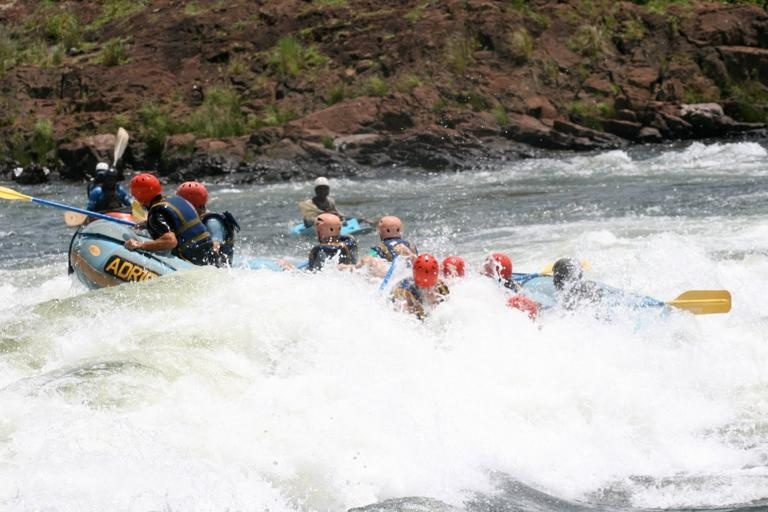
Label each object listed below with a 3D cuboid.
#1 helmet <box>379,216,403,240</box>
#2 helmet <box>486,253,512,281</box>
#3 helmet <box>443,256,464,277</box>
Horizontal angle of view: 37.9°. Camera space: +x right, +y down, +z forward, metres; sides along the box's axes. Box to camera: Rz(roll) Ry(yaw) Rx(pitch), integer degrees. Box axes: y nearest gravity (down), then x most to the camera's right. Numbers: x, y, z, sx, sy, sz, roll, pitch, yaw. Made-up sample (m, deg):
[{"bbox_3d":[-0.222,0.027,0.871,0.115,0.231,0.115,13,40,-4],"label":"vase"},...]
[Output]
[{"bbox_3d":[0.188,-0.662,24.872,0.447,0.483,0.544,2,15,-6],"label":"helmet"},{"bbox_3d":[2.439,0.199,23.568,0.498,0.602,0.578,-4,5,-39],"label":"helmet"},{"bbox_3d":[1.457,0.205,23.132,0.364,0.414,0.417,-5,1,8],"label":"helmet"}]
